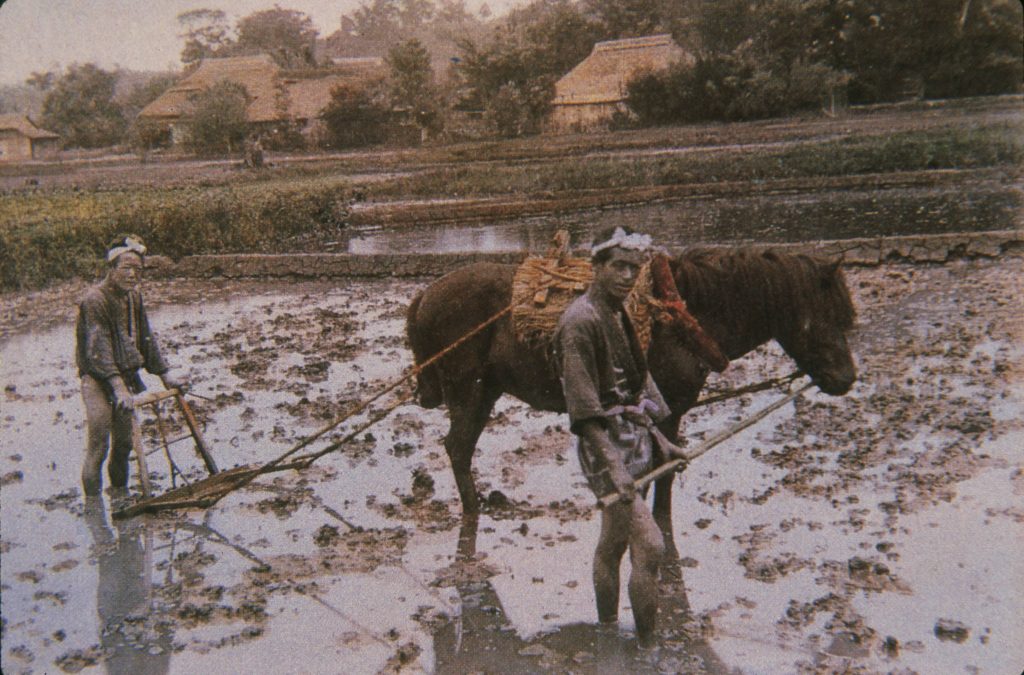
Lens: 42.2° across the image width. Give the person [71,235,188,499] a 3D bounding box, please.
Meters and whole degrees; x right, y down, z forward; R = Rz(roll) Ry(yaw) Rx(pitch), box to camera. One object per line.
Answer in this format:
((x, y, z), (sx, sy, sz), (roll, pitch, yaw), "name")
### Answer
((-4.420, 0.315, 14.834), (0.799, 2.855, 0.914), (1, 12, 35), "person")
